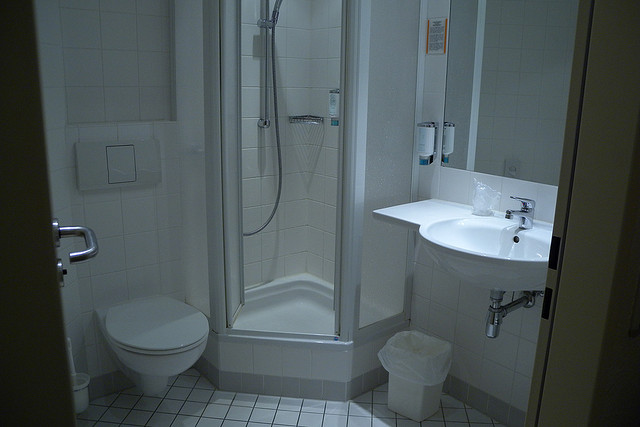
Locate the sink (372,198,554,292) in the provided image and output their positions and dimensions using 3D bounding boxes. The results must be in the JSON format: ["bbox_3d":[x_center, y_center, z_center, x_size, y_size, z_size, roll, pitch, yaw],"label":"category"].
[{"bbox_3d":[0.630,0.153,2.232,0.858,0.250,0.643,12,21,37],"label":"sink"}]

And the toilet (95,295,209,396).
[{"bbox_3d":[-0.857,0.713,2.503,0.442,0.415,0.639,-9,20,-41],"label":"toilet"}]

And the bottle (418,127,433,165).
[{"bbox_3d":[0.545,-0.348,2.532,0.077,0.191,0.046,3,16,17],"label":"bottle"}]

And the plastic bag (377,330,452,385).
[{"bbox_3d":[0.520,0.770,2.502,0.335,0.247,0.314,9,14,17],"label":"plastic bag"}]

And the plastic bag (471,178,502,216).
[{"bbox_3d":[0.774,-0.065,2.407,0.190,0.214,0.131,3,1,8],"label":"plastic bag"}]

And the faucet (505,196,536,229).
[{"bbox_3d":[0.874,0.007,2.147,0.147,0.145,0.048,-3,14,-26],"label":"faucet"}]
